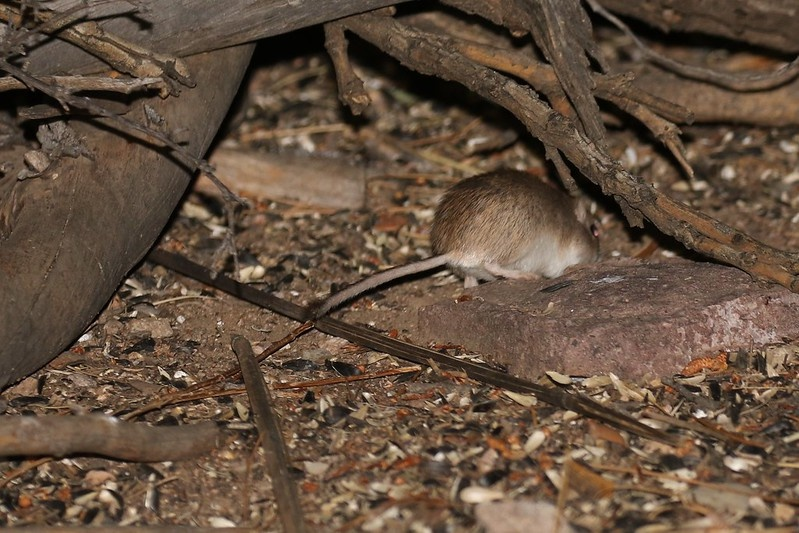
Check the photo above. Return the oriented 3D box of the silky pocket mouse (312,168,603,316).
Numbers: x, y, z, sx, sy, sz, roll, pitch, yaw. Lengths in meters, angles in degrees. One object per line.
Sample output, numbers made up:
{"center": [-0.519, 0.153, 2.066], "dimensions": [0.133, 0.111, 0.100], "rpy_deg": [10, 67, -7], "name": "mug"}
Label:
{"center": [0.644, -0.188, 5.697], "dimensions": [2.046, 0.713, 0.832], "rpy_deg": [-18, 39, -33], "name": "silky pocket mouse"}
